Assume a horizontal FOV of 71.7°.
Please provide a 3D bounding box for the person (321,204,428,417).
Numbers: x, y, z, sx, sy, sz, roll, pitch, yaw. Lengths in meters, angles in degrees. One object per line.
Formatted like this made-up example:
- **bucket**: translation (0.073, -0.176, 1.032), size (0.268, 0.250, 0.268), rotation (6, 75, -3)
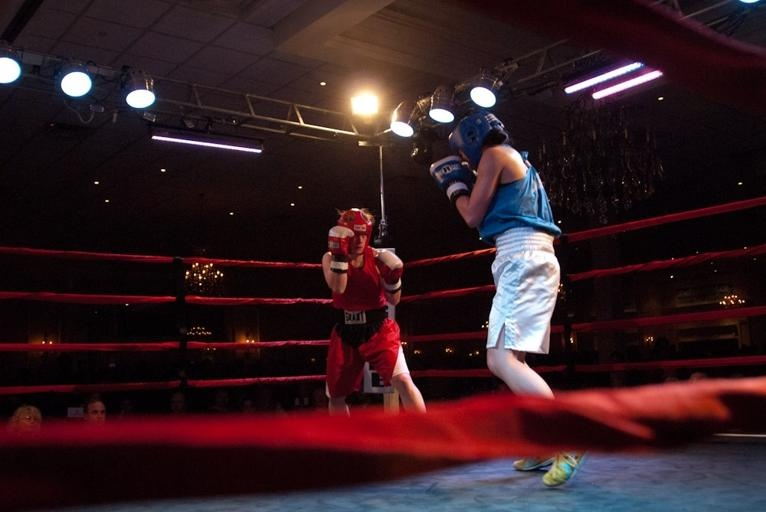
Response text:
- **person**: translation (-0.086, 0.318, 3.266), size (0.640, 1.249, 0.539), rotation (5, -7, -3)

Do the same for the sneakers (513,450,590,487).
- **sneakers**: translation (0.670, 0.825, 2.092), size (0.127, 0.149, 0.376), rotation (-14, -25, 33)

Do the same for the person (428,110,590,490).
- **person**: translation (0.493, -0.078, 2.369), size (0.587, 1.289, 0.514), rotation (3, -8, 17)

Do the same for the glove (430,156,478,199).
- **glove**: translation (0.335, -0.356, 2.576), size (0.186, 0.099, 0.235), rotation (-19, -57, 39)

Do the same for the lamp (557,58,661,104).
- **lamp**: translation (2.796, -2.034, 6.334), size (0.779, 0.178, 0.957), rotation (9, -8, -41)

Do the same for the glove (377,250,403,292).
- **glove**: translation (0.076, 0.100, 3.475), size (0.104, 0.240, 0.196), rotation (-8, 21, -27)

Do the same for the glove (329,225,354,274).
- **glove**: translation (-0.249, -0.040, 3.181), size (0.189, 0.282, 0.095), rotation (10, -9, -38)
